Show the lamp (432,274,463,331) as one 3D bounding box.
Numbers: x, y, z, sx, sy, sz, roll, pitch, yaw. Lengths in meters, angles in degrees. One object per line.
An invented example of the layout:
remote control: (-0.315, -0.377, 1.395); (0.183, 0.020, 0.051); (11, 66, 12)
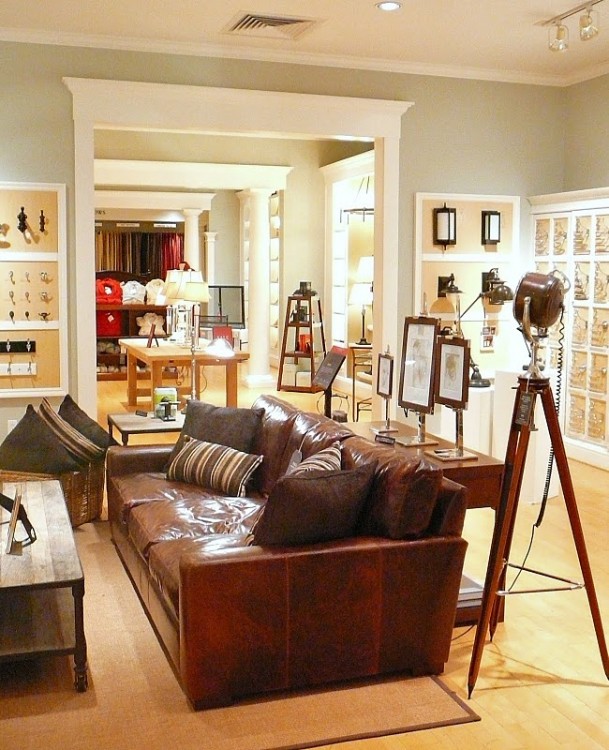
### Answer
lamp: (1.265, -0.654, 5.445); (0.271, 0.506, 0.311); (0, -2, 28)

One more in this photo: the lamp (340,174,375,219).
lamp: (0.742, -2.403, 8.449); (0.324, 0.526, 0.582); (1, -2, -3)

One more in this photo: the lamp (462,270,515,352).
lamp: (1.605, -0.609, 5.463); (0.417, 0.765, 0.793); (0, -2, 16)

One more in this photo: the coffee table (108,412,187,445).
coffee table: (-1.127, 0.378, 4.415); (0.329, 0.212, 0.426); (-3, 11, -24)

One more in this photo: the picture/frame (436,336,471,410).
picture/frame: (0.558, -0.014, 2.325); (0.026, 0.314, 0.267); (0, 6, -21)

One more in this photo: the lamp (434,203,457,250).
lamp: (1.248, -1.305, 5.417); (0.261, 0.366, 0.135); (2, -2, -33)

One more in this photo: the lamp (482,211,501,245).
lamp: (1.695, -1.336, 5.604); (0.240, 0.304, 0.112); (2, -2, -34)

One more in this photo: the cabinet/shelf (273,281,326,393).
cabinet/shelf: (-0.034, -0.538, 8.911); (0.700, 1.613, 0.843); (1, -2, 1)

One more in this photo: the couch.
couch: (-0.027, 0.200, 2.056); (0.823, 0.645, 1.545); (1, 4, -16)

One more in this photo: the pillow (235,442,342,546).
pillow: (-0.056, 0.415, 2.165); (0.083, 0.254, 0.270); (36, 38, -11)
